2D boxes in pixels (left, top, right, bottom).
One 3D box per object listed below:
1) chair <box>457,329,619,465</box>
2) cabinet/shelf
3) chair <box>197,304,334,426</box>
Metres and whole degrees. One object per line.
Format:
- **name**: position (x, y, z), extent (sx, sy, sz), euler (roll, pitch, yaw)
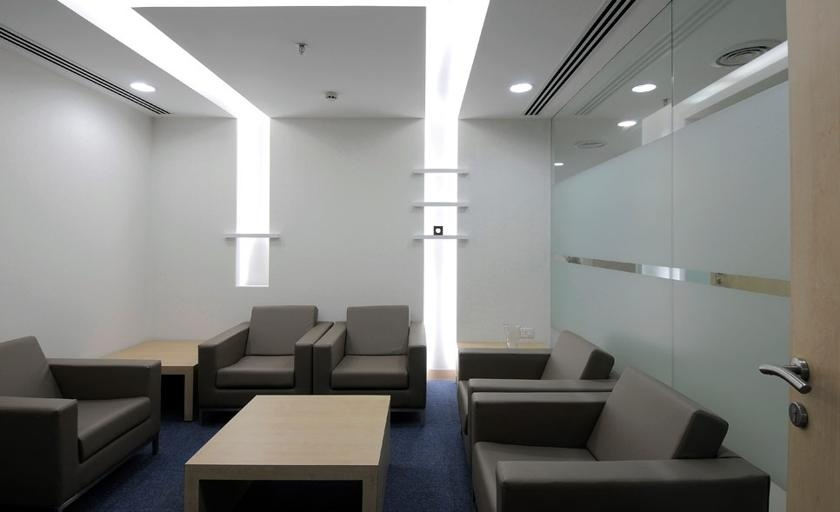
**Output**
- **chair**: position (0.990, 1.148, 4.904), extent (1.143, 0.958, 1.168), euler (0, -6, 0)
- **cabinet/shelf**: position (0.235, -0.619, 6.619), extent (0.918, 1.080, 0.328), euler (0, -4, 0)
- **chair**: position (-1.611, 1.052, 5.817), extent (1.131, 0.959, 1.042), euler (0, -4, 0)
